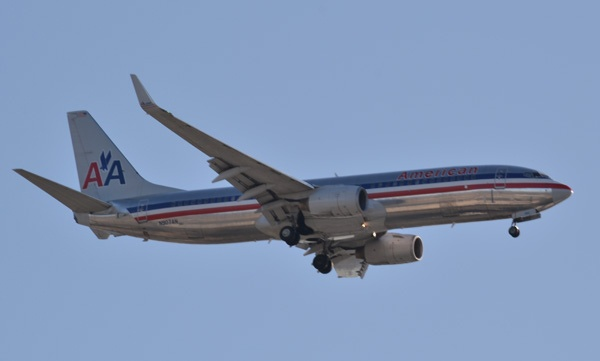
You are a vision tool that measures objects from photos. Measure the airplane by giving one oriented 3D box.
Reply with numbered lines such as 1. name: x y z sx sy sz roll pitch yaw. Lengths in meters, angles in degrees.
1. airplane: -0.767 1.202 47.371 15.390 4.458 13.217 -4 -10 17
